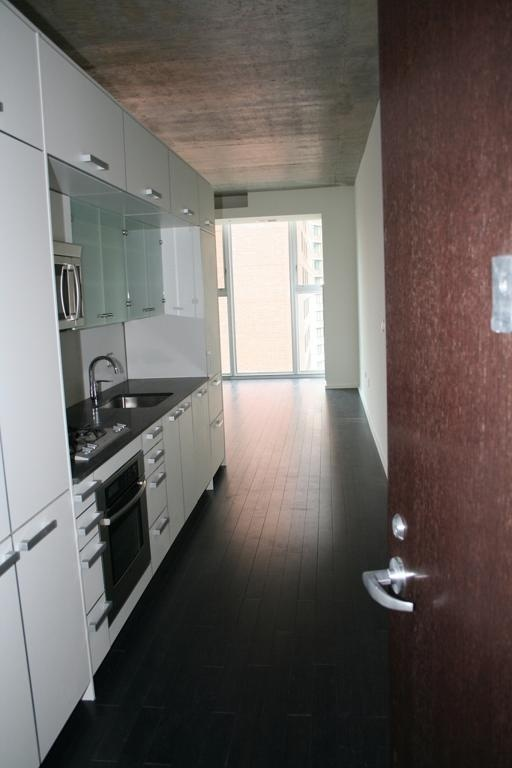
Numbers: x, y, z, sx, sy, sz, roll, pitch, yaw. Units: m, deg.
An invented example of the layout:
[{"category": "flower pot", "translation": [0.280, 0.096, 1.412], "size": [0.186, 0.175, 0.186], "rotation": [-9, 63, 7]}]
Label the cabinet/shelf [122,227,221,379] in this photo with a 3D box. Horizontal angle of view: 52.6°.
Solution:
[{"category": "cabinet/shelf", "translation": [-0.762, -0.852, 5.233], "size": [0.823, 2.275, 1.083], "rotation": [0, 7, 6]}]
